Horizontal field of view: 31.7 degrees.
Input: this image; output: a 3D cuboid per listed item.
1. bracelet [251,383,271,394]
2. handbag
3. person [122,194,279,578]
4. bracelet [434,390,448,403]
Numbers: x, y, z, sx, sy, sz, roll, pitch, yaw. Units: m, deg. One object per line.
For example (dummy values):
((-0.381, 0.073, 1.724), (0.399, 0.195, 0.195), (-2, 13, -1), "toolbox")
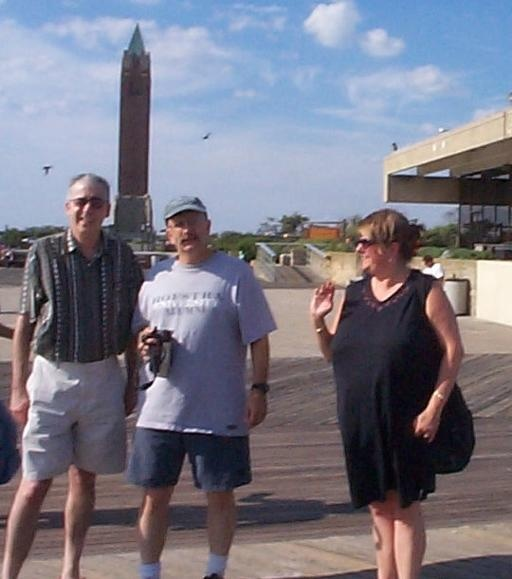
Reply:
((0.022, 0.463, 4.233), (0.068, 0.047, 0.043), (1, -10, -1), "bracelet")
((0.860, 0.390, 4.079), (0.282, 0.910, 0.248), (1, 5, 8), "handbag")
((-0.248, 0.445, 4.197), (0.671, 1.749, 0.469), (0, 5, 0), "person")
((0.822, 0.466, 4.003), (0.053, 0.064, 0.057), (2, -4, 15), "bracelet")
